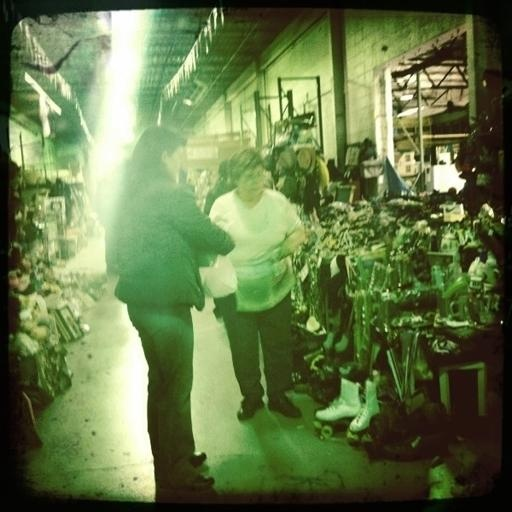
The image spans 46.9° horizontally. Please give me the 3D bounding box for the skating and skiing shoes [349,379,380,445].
[{"bbox_3d":[0.518,0.746,2.858,0.174,0.276,0.063,-3,2,-34],"label":"skating and skiing shoes"}]

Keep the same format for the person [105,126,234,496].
[{"bbox_3d":[-0.388,0.207,2.614,0.481,1.613,0.485,-1,2,-24],"label":"person"}]

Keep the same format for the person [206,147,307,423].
[{"bbox_3d":[0.013,0.127,2.844,0.375,1.432,0.407,-1,2,-14],"label":"person"}]

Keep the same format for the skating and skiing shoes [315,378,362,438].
[{"bbox_3d":[0.402,0.747,2.870,0.163,0.297,0.182,1,8,-3],"label":"skating and skiing shoes"}]

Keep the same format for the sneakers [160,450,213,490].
[{"bbox_3d":[-0.332,1.022,2.747,0.304,0.143,0.154,-2,8,5],"label":"sneakers"}]
